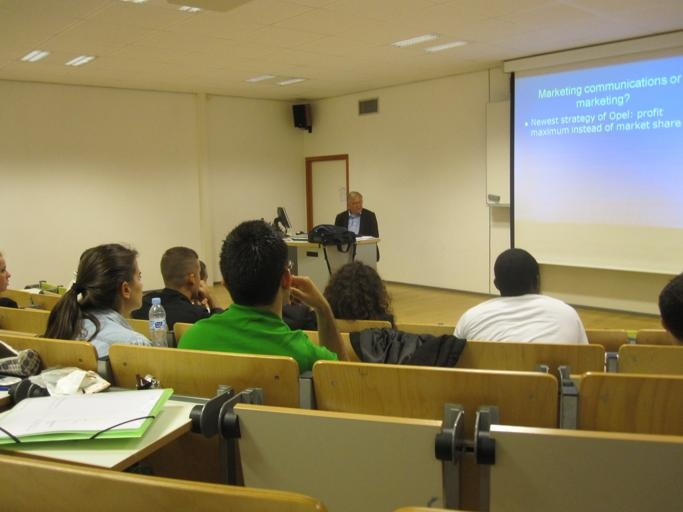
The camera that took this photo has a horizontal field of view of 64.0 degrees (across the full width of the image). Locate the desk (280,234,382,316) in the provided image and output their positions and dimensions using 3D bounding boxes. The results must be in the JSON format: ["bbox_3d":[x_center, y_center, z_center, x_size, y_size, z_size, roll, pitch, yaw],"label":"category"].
[{"bbox_3d":[-0.137,0.306,7.162,0.710,1.070,1.039,1,-1,-40],"label":"desk"}]

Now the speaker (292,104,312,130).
[{"bbox_3d":[-0.740,-2.571,10.106,0.397,0.463,0.356,1,1,11],"label":"speaker"}]
